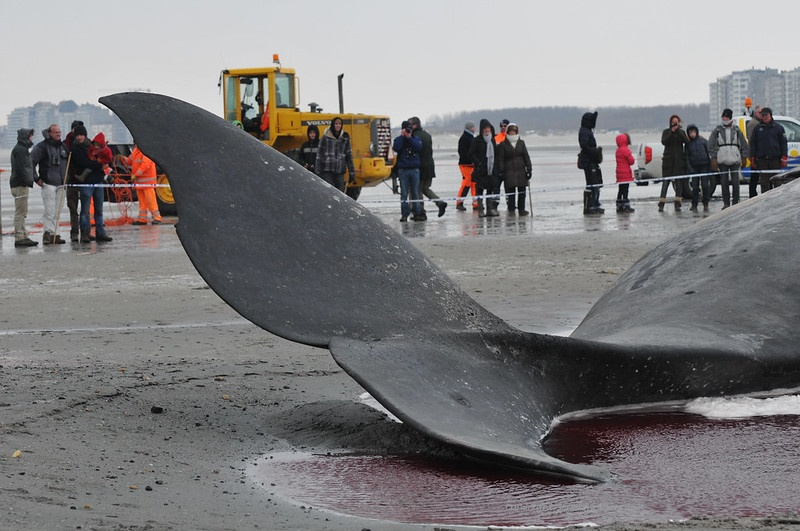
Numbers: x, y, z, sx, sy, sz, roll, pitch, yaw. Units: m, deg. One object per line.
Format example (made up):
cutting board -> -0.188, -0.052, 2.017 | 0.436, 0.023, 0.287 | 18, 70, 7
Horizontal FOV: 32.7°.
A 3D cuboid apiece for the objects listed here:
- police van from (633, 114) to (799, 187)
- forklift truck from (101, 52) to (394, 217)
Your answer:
police van -> 5.915, -2.186, 27.424 | 3.692, 1.163, 1.756 | -4, 8, 5
forklift truck -> -2.437, -2.576, 25.447 | 4.792, 2.385, 2.099 | 3, 7, 15
